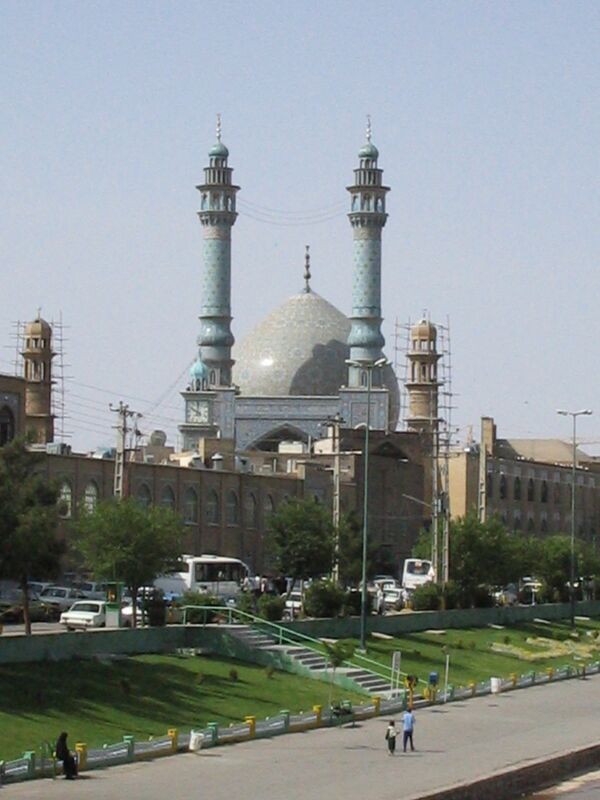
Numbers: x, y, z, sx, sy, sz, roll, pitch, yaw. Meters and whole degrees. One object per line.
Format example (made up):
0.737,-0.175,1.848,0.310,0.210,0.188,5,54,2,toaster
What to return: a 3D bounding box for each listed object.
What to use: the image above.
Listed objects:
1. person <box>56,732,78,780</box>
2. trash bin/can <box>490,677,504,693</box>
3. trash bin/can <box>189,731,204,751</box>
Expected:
-4.140,6.400,37.531,0.403,0.809,0.508,0,-4,-7,person
4.687,6.998,51.108,0.282,0.407,0.303,-2,-4,33,trash bin/can
-2.002,6.636,40.567,0.232,0.362,0.506,-1,-4,5,trash bin/can
